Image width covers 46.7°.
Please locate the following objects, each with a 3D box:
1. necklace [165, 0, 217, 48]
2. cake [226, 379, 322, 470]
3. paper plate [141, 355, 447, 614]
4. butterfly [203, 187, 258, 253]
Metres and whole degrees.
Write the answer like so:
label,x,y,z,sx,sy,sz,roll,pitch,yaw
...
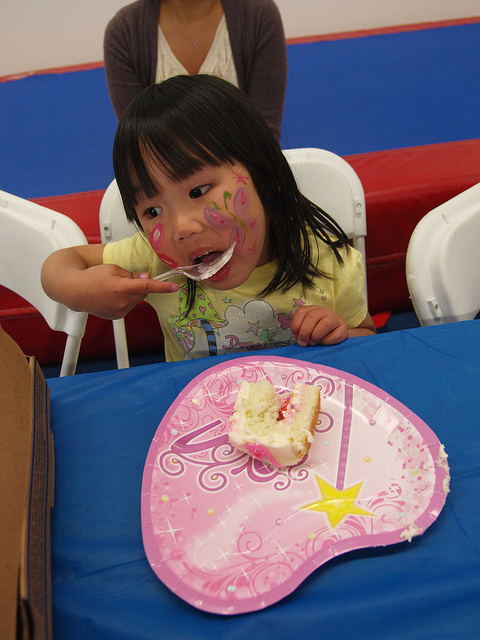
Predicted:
label,x,y,z,sx,sy,sz,roll,pitch,yaw
necklace,-0.113,-0.704,1.324,0.117,0.085,0.065,-5,51,-2
cake,0.036,0.116,0.625,0.091,0.026,0.096,12,38,28
paper plate,0.060,0.156,0.614,0.288,0.046,0.320,-16,29,4
butterfly,-0.003,-0.129,0.754,0.087,0.089,0.033,-25,59,-9
